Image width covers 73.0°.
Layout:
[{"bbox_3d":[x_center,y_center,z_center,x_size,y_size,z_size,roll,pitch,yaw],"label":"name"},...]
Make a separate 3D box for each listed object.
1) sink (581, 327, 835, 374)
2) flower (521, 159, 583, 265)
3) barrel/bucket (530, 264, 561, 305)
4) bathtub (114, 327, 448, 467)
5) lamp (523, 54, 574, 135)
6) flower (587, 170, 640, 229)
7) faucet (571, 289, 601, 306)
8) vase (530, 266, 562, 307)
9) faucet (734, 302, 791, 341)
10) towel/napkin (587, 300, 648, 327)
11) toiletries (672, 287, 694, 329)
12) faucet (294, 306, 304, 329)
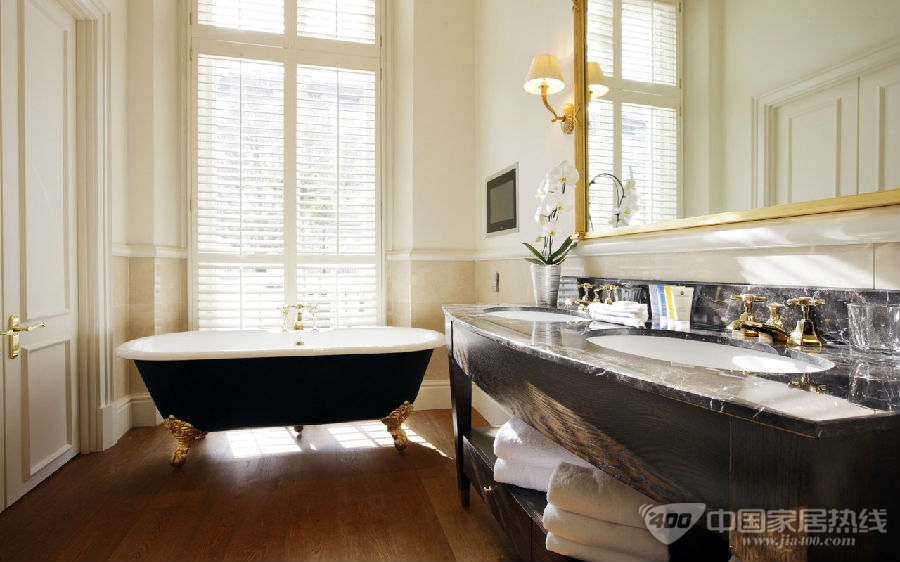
[{"bbox_3d":[0.944,0.255,2.261,0.816,0.136,0.163,-1,4,26],"label":"sink"},{"bbox_3d":[0.540,-0.342,3.236,0.300,0.543,0.336,12,13,42],"label":"flower"},{"bbox_3d":[0.502,0.033,3.251,0.185,0.190,0.184,-1,-9,0],"label":"barrel/bucket"},{"bbox_3d":[-0.971,0.674,3.824,1.844,0.745,0.854,-3,4,-9],"label":"bathtub"},{"bbox_3d":[0.544,-1.016,3.342,0.294,0.403,0.208,4,8,-4],"label":"lamp"},{"bbox_3d":[0.801,-0.401,2.984,0.243,0.289,0.294,-3,10,-14],"label":"flower"},{"bbox_3d":[0.686,0.085,3.030,0.096,0.058,0.101,-1,4,-9],"label":"faucet"},{"bbox_3d":[0.515,0.017,3.218,0.145,0.222,0.253,-2,4,10],"label":"vase"},{"bbox_3d":[1.217,0.152,2.343,0.086,0.139,0.259,1,10,-11],"label":"faucet"},{"bbox_3d":[0.728,0.134,2.608,0.178,0.089,0.290,-3,3,-5],"label":"towel/napkin"},{"bbox_3d":[0.965,0.104,2.528,0.082,0.163,0.144,-1,5,28],"label":"toiletries"},{"bbox_3d":[-1.078,0.251,4.354,0.047,0.152,0.357,-4,4,-13],"label":"faucet"}]
